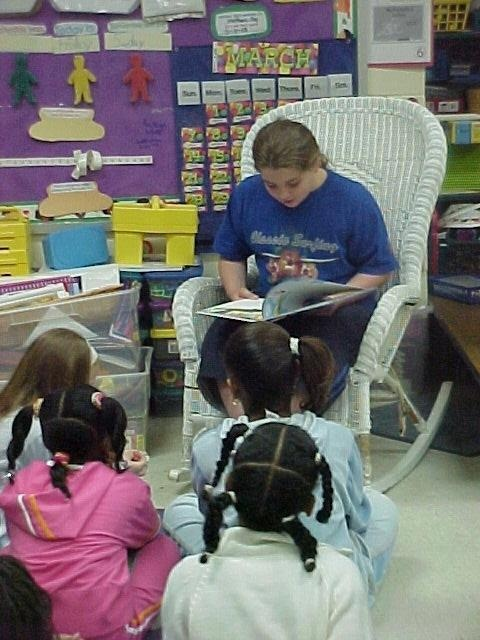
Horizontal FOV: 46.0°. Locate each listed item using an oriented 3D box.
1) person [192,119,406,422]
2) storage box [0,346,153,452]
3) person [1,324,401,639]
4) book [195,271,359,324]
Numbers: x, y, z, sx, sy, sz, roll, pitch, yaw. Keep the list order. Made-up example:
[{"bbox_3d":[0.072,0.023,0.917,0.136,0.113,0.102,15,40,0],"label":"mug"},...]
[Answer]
[{"bbox_3d":[0.150,-0.172,1.618,0.587,0.769,0.591,-9,30,-5],"label":"person"},{"bbox_3d":[-0.439,0.234,1.838,0.379,0.224,0.367,1,8,3],"label":"storage box"},{"bbox_3d":[-0.078,0.191,1.142,0.746,0.705,0.480,-2,2,17],"label":"person"},{"bbox_3d":[0.083,-0.040,1.386,0.343,0.121,0.248,7,16,42],"label":"book"}]
